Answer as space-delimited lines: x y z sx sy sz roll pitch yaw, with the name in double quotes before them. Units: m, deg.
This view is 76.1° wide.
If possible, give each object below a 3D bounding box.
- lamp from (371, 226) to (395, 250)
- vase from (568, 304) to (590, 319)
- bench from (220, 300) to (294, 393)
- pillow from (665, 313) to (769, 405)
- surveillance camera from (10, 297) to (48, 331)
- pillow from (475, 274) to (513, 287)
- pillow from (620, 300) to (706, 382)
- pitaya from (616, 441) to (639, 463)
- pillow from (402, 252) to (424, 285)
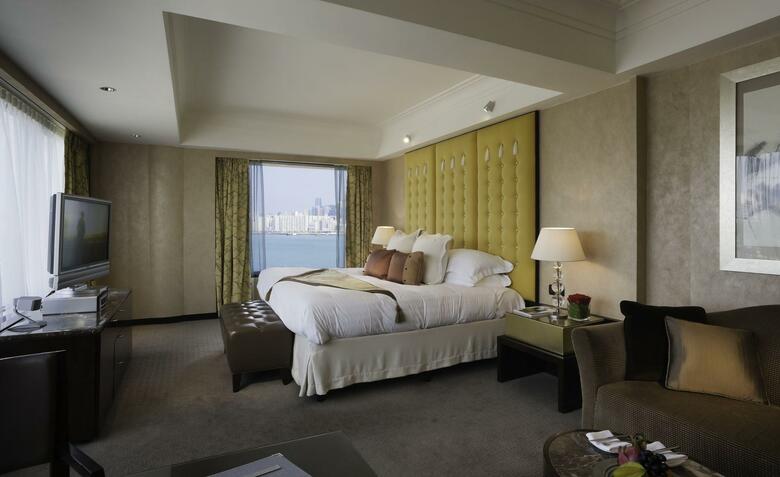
"lamp" -0.110 -0.034 7.904 0.355 0.337 0.360 2 1 -15
"vase" 1.896 0.721 5.015 0.167 0.137 0.163 0 -1 -10
"bench" -1.418 0.893 5.320 0.667 0.610 1.284 1 1 -24
"pillow" 2.530 0.922 3.786 0.645 0.581 0.188 6 -23 7
"surveillance camera" -3.169 0.655 4.360 0.328 0.295 0.263 3 -3 -23
"pillow" 1.242 0.499 5.857 0.309 0.072 0.182 -3 45 -1
"pillow" 2.153 0.843 4.023 0.690 0.653 0.245 1 -19 -2
"pitaya" 1.544 1.402 3.245 0.112 0.137 0.120 -3 3 -36
"pillow" 0.276 0.359 5.904 0.182 0.251 0.366 -4 -4 -21
